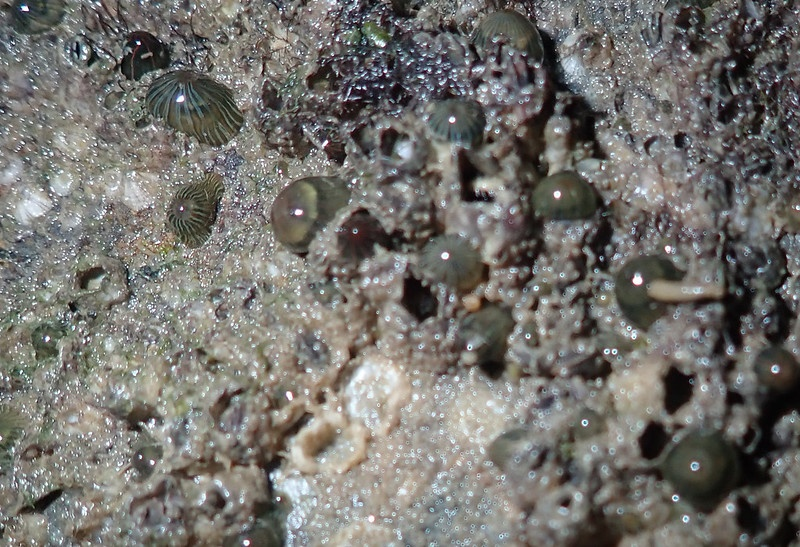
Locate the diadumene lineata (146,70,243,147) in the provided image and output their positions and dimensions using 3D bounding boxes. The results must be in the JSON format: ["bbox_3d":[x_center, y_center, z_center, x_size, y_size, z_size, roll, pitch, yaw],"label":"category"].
[{"bbox_3d":[-0.956,-0.789,4.426,0.481,0.102,0.290,24,85,2],"label":"diadumene lineata"}]
